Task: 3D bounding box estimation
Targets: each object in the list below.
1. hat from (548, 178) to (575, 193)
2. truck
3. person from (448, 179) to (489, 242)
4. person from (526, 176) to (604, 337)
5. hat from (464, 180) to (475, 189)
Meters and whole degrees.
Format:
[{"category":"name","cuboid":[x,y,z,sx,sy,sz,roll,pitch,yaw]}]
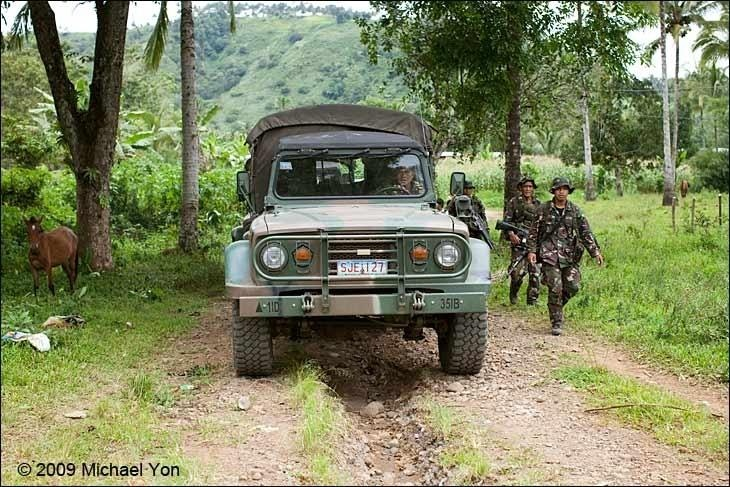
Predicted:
[{"category":"hat","cuboid":[3.250,-0.970,11.855,0.416,0.216,0.324,-5,5,-1]},{"category":"truck","cuboid":[-0.254,-0.085,10.737,3.498,3.652,3.442,-2,15,-8]},{"category":"person","cuboid":[1.972,-0.523,12.843,0.619,0.543,1.739,-5,28,-8]},{"category":"person","cuboid":[3.179,0.147,11.885,1.083,2.370,0.635,2,15,8]},{"category":"hat","cuboid":[2.023,-1.126,14.261,0.296,0.167,0.431,0,-1,1]}]
